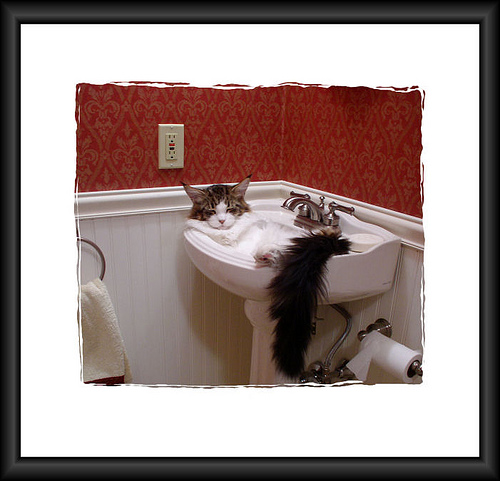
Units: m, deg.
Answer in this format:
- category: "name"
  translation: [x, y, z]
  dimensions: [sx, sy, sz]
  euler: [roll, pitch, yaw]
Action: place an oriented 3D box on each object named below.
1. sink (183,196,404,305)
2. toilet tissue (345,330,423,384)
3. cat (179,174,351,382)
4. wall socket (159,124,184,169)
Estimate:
- category: "sink"
  translation: [0.080, 0.025, 1.268]
  dimensions: [0.447, 0.211, 0.489]
  euler: [-4, 8, -28]
- category: "toilet tissue"
  translation: [0.327, 0.304, 1.182]
  dimensions: [0.107, 0.096, 0.153]
  euler: [-16, 13, -15]
- category: "cat"
  translation: [-0.060, -0.021, 1.431]
  dimensions: [0.212, 0.414, 0.854]
  euler: [-1, 26, -20]
- category: "wall socket"
  translation: [-0.226, -0.268, 1.397]
  dimensions: [0.079, 0.149, 0.019]
  euler: [-1, -19, -8]
